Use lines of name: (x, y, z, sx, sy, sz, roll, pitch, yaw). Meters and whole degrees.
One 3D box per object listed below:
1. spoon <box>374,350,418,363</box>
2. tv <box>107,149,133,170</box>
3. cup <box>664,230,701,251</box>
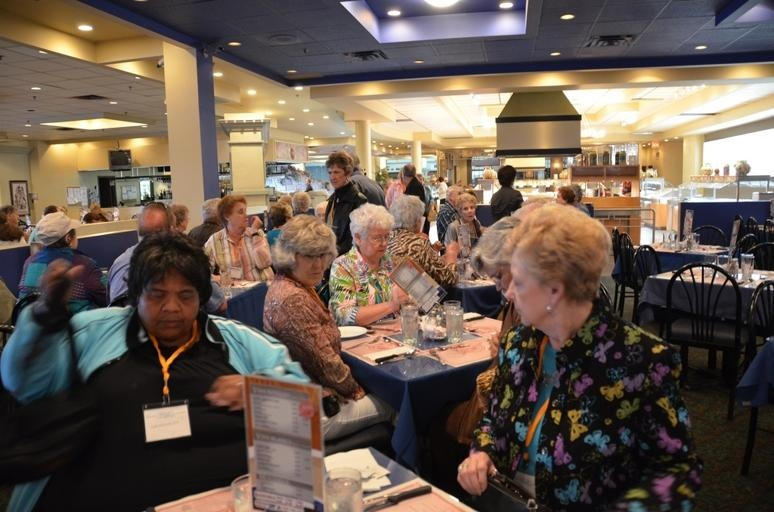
spoon: (0.042, 0.566, 2.811, 0.261, 0.039, 0.069, -7, 9, -38)
tv: (-8.707, -3.099, 16.471, 0.855, 0.828, 0.462, 0, -1, -12)
cup: (3.747, -0.145, 6.492, 0.362, 0.170, 0.493, 0, 3, 20)
